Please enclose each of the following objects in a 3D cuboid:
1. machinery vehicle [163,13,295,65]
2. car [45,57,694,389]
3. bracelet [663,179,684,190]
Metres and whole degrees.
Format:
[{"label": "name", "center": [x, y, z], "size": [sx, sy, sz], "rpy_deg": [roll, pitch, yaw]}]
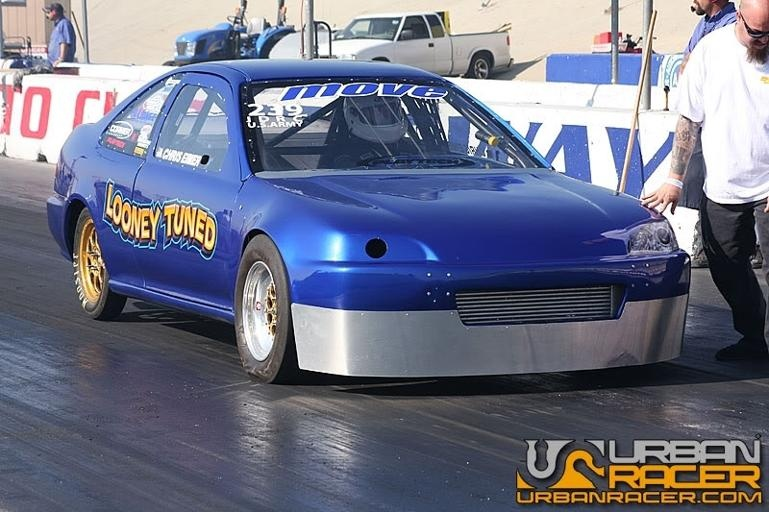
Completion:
[{"label": "machinery vehicle", "center": [-4.993, -7.341, 29.006], "size": [4.188, 1.665, 2.624], "rpy_deg": [-6, 16, -9]}, {"label": "car", "center": [-0.485, -0.430, 5.755], "size": [2.220, 1.432, 3.921], "rpy_deg": [-4, 10, -37]}, {"label": "bracelet", "center": [1.966, -0.479, 5.581], "size": [0.080, 0.032, 0.084], "rpy_deg": [19, 4, 36]}]
